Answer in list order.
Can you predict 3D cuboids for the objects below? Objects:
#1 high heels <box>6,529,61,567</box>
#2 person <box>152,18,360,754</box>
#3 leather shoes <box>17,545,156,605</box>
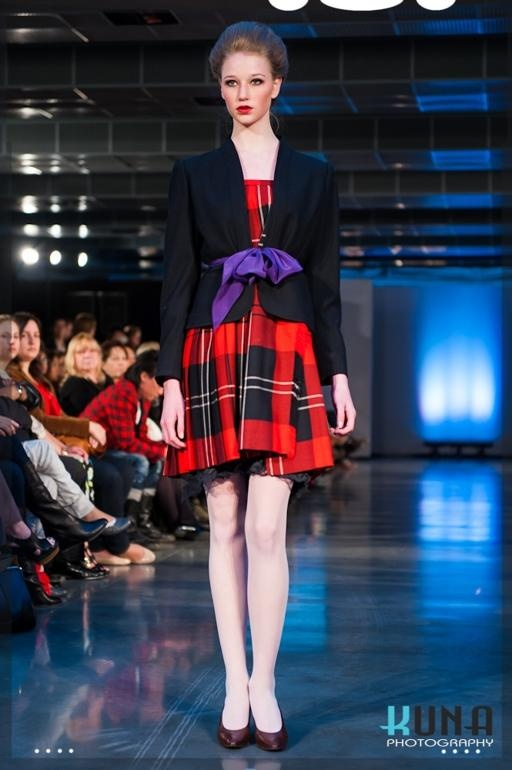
[{"bbox_3d":[-0.793,0.569,2.772,0.222,0.090,0.075,6,35,-35],"label":"high heels"},{"bbox_3d":[0.001,-0.019,1.493,0.368,1.271,0.253,-1,0,-7],"label":"person"},{"bbox_3d":[-0.733,0.773,3.319,0.461,0.179,0.137,-6,-4,-10],"label":"leather shoes"}]
